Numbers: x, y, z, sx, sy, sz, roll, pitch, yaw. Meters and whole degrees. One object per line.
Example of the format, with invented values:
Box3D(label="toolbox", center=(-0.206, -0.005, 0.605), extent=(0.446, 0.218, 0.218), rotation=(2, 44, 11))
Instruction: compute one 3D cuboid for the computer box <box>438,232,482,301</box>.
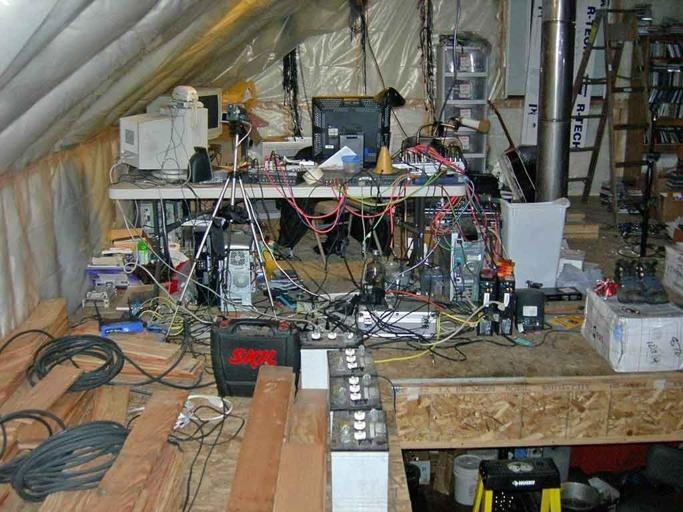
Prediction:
Box3D(label="computer box", center=(0.862, 0.151, 4.623), extent=(0.307, 0.504, 0.327), rotation=(-3, -21, 24))

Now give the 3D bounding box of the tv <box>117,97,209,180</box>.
Box3D(label="tv", center=(-1.212, -0.849, 4.742), extent=(0.588, 0.509, 0.577), rotation=(-12, 27, -32))

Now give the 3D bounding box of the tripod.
Box3D(label="tripod", center=(-0.791, -0.113, 4.411), extent=(0.699, 1.031, 0.961), rotation=(-4, 11, -5))

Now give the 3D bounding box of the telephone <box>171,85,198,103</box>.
Box3D(label="telephone", center=(-1.118, -1.165, 4.747), extent=(0.165, 0.090, 0.118), rotation=(4, 24, 0))

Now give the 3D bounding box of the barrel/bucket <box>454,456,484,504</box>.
Box3D(label="barrel/bucket", center=(0.870, 1.558, 4.587), extent=(0.184, 0.321, 0.309), rotation=(-1, 11, 12))

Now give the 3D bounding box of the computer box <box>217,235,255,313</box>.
Box3D(label="computer box", center=(-0.804, 0.132, 4.496), extent=(0.335, 0.472, 0.335), rotation=(-2, 0, -12))

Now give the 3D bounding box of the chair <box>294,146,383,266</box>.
Box3D(label="chair", center=(-0.017, -0.394, 5.200), extent=(0.825, 1.101, 0.761), rotation=(-1, 21, -4))
